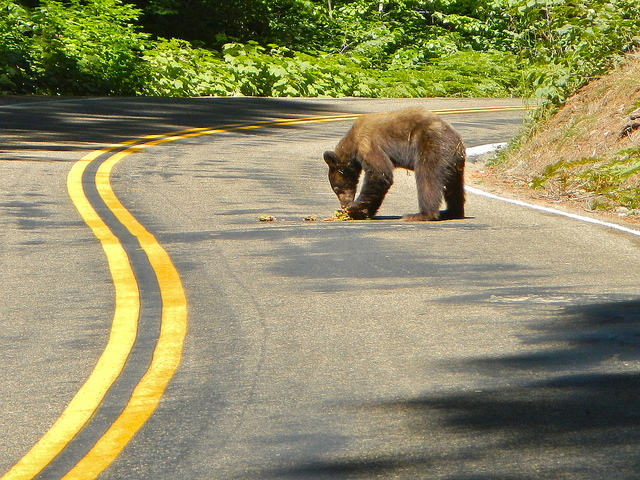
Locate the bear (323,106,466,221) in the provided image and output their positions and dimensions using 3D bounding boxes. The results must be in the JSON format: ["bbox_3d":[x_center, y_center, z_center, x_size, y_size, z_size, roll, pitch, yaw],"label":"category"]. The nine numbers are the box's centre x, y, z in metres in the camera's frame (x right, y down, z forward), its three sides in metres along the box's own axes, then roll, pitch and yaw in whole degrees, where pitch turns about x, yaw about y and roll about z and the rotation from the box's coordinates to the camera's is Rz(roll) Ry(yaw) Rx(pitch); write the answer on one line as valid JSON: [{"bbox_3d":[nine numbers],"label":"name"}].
[{"bbox_3d":[1.144,-0.857,10.883,1.253,1.186,2.378,-12,9,-41],"label":"bear"}]
